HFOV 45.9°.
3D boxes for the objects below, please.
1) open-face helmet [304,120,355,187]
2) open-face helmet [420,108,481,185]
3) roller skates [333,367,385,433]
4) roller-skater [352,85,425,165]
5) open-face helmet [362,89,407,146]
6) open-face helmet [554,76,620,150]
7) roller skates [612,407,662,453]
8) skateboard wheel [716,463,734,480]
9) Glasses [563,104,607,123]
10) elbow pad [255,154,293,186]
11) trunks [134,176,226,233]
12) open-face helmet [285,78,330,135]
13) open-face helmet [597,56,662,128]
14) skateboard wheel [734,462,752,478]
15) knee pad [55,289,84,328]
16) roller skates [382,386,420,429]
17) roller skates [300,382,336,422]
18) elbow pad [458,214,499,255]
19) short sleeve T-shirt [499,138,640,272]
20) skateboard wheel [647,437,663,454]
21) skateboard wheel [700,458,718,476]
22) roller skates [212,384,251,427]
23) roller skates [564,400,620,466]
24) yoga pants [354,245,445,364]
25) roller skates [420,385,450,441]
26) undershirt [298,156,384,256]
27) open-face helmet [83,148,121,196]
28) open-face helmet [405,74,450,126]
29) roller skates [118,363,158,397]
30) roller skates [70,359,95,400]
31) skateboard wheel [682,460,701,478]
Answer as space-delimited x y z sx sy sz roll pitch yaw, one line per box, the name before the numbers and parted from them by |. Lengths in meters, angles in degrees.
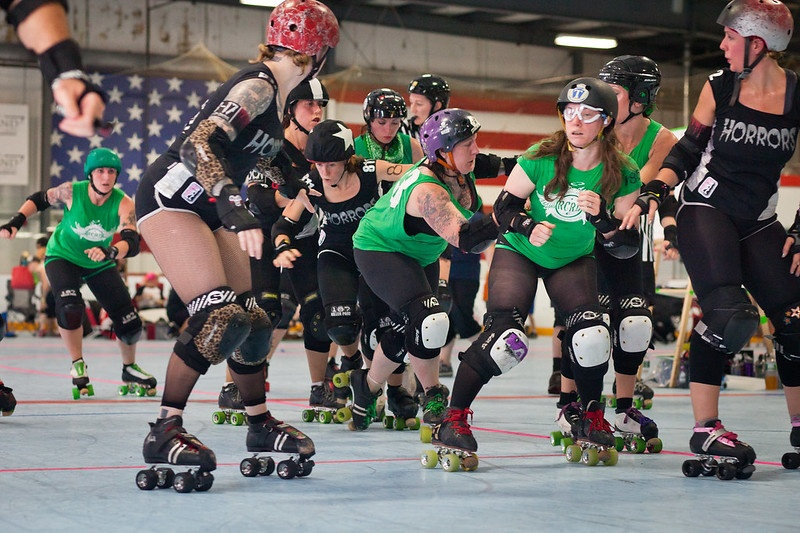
open-face helmet | -0.524 -0.922 7.220 0.393 0.420 0.445 14 25 37
open-face helmet | 0.400 -0.823 6.449 0.441 0.425 0.371 -25 -13 31
roller skates | -0.293 1.039 7.426 0.339 0.628 0.226 -17 -14 29
roller-skater | -0.085 -1.134 7.989 0.497 0.623 0.700 -1 -32 -16
open-face helmet | -0.130 -1.276 7.986 0.345 0.436 0.449 -4 15 -18
open-face helmet | 1.233 -0.996 6.047 0.316 0.317 0.384 11 23 -26
roller skates | 1.636 1.170 6.685 0.216 0.294 0.425 11 -6 -27
skateboard wheel | 1.965 1.248 5.768 0.103 0.099 0.094 1 2 0
Glasses | 1.189 -0.968 6.011 0.319 0.124 0.116 1 0 9
elbow pad | -0.838 -0.658 6.353 0.216 0.068 0.225 26 5 11
trunks | -1.416 -0.380 5.797 0.475 0.383 0.484 -8 5 -1
open-face helmet | -0.717 -1.340 7.919 0.362 0.495 0.466 1 -2 -39
open-face helmet | 1.690 -1.294 6.989 0.502 0.516 0.410 5 2 -4
skateboard wheel | 2.077 1.252 5.749 0.096 0.064 0.072 -18 -12 37
knee pad | -3.098 0.387 8.876 0.228 0.393 0.155 -4 5 -17
roller skates | 0.024 1.142 7.461 0.209 0.322 0.329 10 -10 -29
roller skates | -0.613 1.124 7.741 0.359 0.340 0.233 -1 -6 37
elbow pad | 0.486 -0.193 6.104 0.269 0.149 0.211 -22 5 42
short sleeve T-shirt | 1.004 -0.355 6.055 0.827 0.816 0.358 9 1 -7
skateboard wheel | 1.743 1.246 6.555 0.091 0.116 0.118 -6 1 -20
skateboard wheel | 1.893 1.245 5.813 0.108 0.109 0.046 -14 -4 13
roller skates | -1.297 1.090 7.542 0.274 0.342 0.444 1 -5 -37
roller skates | 1.296 1.126 6.311 0.252 0.356 0.483 10 -2 -7
yoga pants | -0.009 0.183 6.760 0.554 0.856 0.336 10 18 -29
roller skates | 0.283 1.019 7.076 0.145 0.334 0.118 20 10 14
undershirt | -0.433 -0.480 7.290 0.581 0.701 0.230 -27 30 -3
open-face helmet | -2.822 -0.924 8.988 0.303 0.458 0.435 1 0 -19
open-face helmet | 0.272 -1.556 8.675 0.406 0.460 0.362 -18 22 -39
roller skates | -2.487 1.104 8.969 0.393 0.318 0.223 0 -3 24
roller skates | -2.932 1.056 8.708 0.167 0.240 0.393 -7 10 -17
skateboard wheel | 1.789 1.255 5.816 0.054 0.099 0.097 7 -6 -43
